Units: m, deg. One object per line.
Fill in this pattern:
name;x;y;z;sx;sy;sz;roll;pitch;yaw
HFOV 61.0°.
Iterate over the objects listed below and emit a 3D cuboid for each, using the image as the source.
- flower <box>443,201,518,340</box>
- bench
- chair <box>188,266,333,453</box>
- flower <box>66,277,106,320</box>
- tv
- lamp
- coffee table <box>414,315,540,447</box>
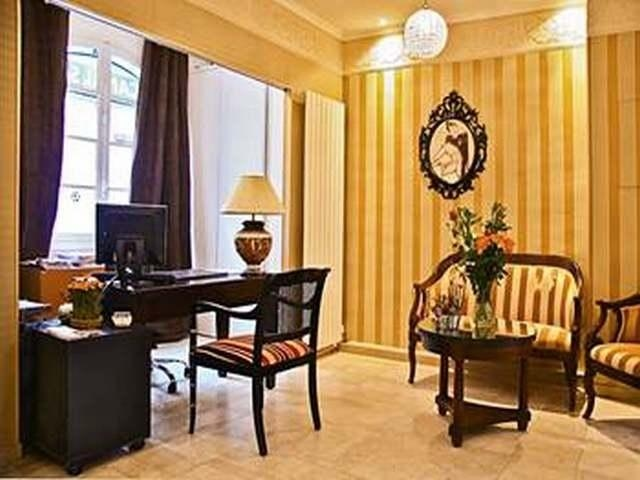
flower;1.335;0.219;4.441;0.546;0.958;0.423;0;-16;23
bench;1.765;0.813;5.378;1.561;1.331;0.912;1;3;35
chair;-0.502;0.831;4.378;1.063;1.315;1.105;-1;7;-14
flower;-1.714;0.413;3.996;0.265;0.343;0.285;2;-2;-4
tv;-1.532;0.032;4.392;0.686;0.813;0.191;-1;4;-35
lamp;-0.646;-0.197;5.408;0.570;0.895;0.993;0;7;-4
coffee table;1.275;1.135;4.443;0.840;0.764;0.850;0;-3;-18
